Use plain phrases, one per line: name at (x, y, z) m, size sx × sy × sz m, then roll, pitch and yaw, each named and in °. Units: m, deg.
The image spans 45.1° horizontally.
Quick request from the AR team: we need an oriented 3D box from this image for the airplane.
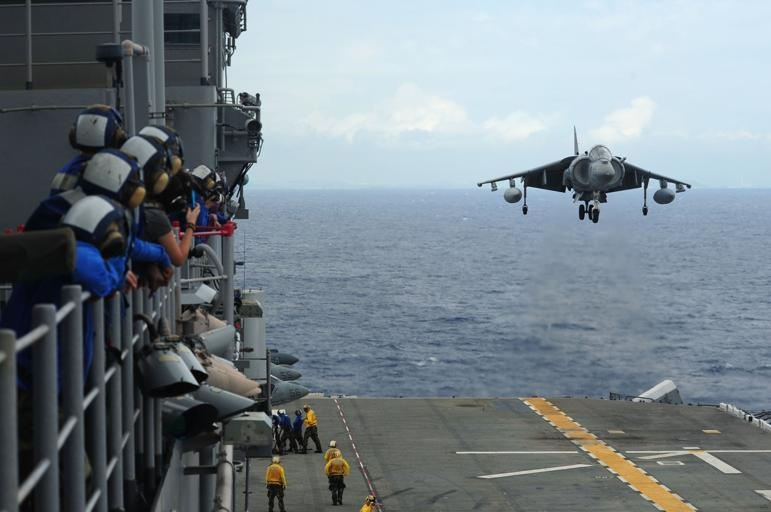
airplane at (11.208, -4.847, 53.517) m, size 12.368 × 5.233 × 13.719 m, roll 0°, pitch 0°, yaw 5°
